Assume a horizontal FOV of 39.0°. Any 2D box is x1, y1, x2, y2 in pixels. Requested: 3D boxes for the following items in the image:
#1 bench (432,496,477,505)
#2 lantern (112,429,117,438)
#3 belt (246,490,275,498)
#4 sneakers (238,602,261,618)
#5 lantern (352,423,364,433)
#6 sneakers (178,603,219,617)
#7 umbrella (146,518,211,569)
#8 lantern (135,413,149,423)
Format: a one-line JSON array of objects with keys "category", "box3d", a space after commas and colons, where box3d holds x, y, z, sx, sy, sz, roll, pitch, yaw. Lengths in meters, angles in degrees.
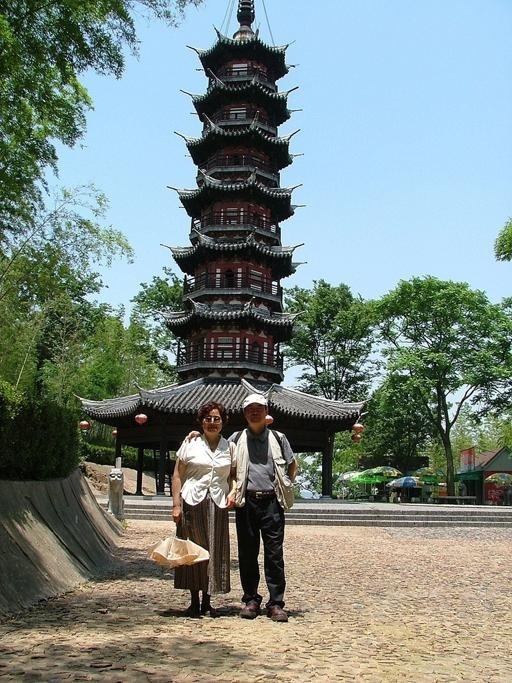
[{"category": "bench", "box3d": [9.265, 7.434, 33.803, 2.229, 0.403, 0.885, 0, -27, 3]}, {"category": "lantern", "box3d": [-4.790, 3.136, 24.571, 0.162, 0.242, 0.837, 3, -13, -11]}, {"category": "belt", "box3d": [0.046, 1.280, 5.998, 0.230, 0.060, 0.044, 3, -14, -13]}, {"category": "sneakers", "box3d": [-0.050, 2.169, 5.828, 0.083, 0.081, 0.189, 3, -7, 7]}, {"category": "lantern", "box3d": [3.290, 2.742, 23.069, 0.358, 0.290, 0.333, 0, -16, -1]}, {"category": "sneakers", "box3d": [-0.455, 2.182, 5.830, 0.254, 0.078, 0.211, 6, -14, -26]}, {"category": "umbrella", "box3d": [-0.597, 1.655, 5.702, 0.458, 0.207, 0.130, 2, -14, -10]}, {"category": "lantern", "box3d": [-3.387, 2.312, 21.386, 0.324, 0.261, 0.328, 2, 3, -20]}]
